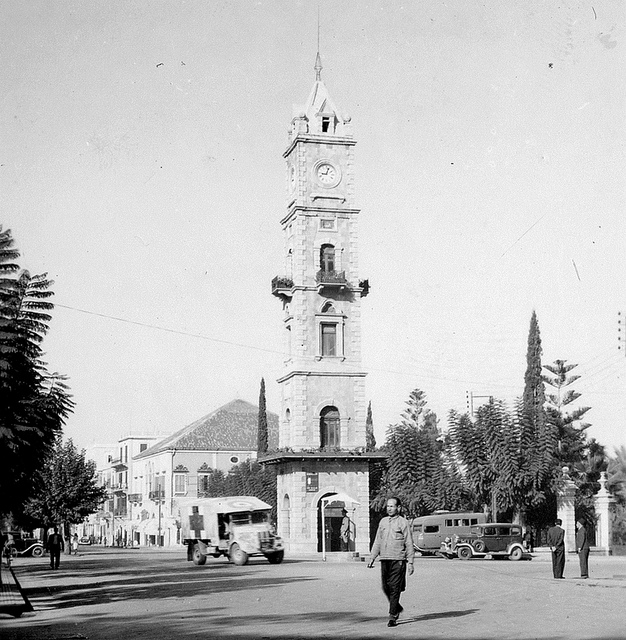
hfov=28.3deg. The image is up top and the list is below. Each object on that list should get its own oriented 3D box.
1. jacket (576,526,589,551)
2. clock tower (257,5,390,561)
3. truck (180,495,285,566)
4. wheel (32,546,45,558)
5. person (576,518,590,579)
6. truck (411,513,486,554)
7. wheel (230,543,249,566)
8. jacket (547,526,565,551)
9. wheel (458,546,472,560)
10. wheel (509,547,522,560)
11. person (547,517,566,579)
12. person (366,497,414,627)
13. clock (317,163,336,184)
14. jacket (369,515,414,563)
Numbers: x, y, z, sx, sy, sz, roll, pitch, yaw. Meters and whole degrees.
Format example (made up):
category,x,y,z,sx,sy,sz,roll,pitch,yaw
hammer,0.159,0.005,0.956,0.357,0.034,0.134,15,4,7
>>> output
category,x,y,z,sx,sy,sz,roll,pitch,yaw
jacket,6.539,5.294,30.244,0.243,0.551,0.647,-2,-13,9
clock tower,0.425,-1.318,62.640,4.455,25.832,2.921,-1,-12,2
truck,-2.735,6.865,40.577,1.794,2.299,3.472,-1,-5,-45
wheel,-13.430,11.300,60.570,0.512,0.428,2.503,2,-15,-13
person,6.581,5.586,30.371,0.274,1.502,1.562,-3,-13,11
truck,5.060,8.148,47.684,0.997,1.335,3.209,10,-18,-39
wheel,-2.340,7.367,38.919,0.539,0.168,0.564,0,13,0
jacket,5.820,5.220,29.709,0.339,0.581,0.548,-2,-13,8
wheel,5.522,8.455,45.151,0.341,0.425,0.133,-5,-8,-7
wheel,7.340,8.454,45.032,0.445,0.434,0.274,-2,-12,4
person,5.955,5.568,30.349,0.377,1.521,2.050,-3,-14,11
person,1.302,3.966,20.547,0.705,2.114,1.166,-1,-12,3
clock,0.641,-7.369,63.248,0.844,1.067,0.086,0,-6,0
jacket,1.343,3.630,20.743,0.728,0.862,0.359,-3,-16,24
